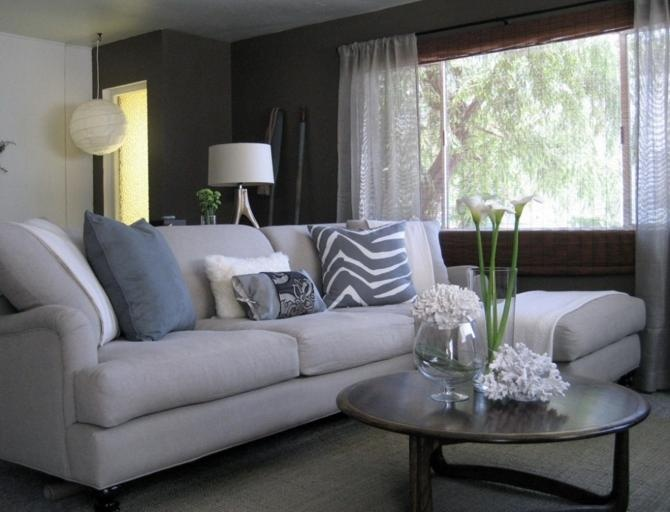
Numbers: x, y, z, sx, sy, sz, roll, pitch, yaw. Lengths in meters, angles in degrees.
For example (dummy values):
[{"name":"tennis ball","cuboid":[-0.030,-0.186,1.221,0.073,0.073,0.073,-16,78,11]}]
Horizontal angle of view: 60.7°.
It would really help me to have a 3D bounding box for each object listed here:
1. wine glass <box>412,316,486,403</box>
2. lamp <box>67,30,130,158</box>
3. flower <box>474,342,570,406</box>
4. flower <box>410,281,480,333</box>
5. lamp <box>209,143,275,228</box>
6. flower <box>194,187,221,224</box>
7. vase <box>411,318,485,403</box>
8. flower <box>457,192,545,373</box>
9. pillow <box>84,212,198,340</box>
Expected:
[{"name":"wine glass","cuboid":[0.368,0.340,1.989,0.235,0.333,0.259,0,-1,12]},{"name":"lamp","cuboid":[-2.410,-1.627,5.825,0.495,1.243,0.534,-3,4,-2]},{"name":"flower","cuboid":[0.645,0.408,1.949,0.275,0.174,0.267,-12,12,-42]},{"name":"flower","cuboid":[0.381,0.149,1.915,0.175,0.138,0.183,1,14,-21]},{"name":"lamp","cuboid":[-0.748,-0.521,4.534,0.444,0.711,0.447,2,7,45]},{"name":"flower","cuboid":[-0.899,-0.347,4.085,0.152,0.258,0.141,1,5,-29]},{"name":"vase","cuboid":[0.367,0.338,1.990,0.235,0.329,0.259,0,0,11]},{"name":"flower","cuboid":[0.548,0.077,1.971,0.271,0.569,0.271,-3,6,-5]},{"name":"pillow","cuboid":[-0.901,0.110,2.768,0.357,0.614,0.681,-2,-3,1]}]
